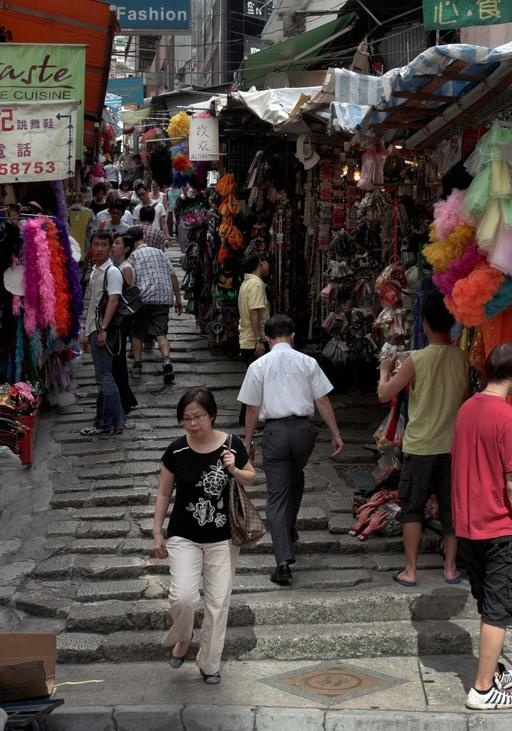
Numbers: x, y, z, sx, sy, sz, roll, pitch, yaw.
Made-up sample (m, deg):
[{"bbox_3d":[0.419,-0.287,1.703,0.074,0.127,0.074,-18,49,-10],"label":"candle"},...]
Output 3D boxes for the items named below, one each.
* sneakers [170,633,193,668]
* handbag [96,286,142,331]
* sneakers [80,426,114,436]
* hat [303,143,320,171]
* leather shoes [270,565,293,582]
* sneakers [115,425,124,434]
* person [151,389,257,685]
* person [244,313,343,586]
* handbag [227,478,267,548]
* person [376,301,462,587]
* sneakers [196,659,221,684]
[{"bbox_3d":[-0.387,1.422,3.150,0.087,0.258,0.083,17,34,-7],"label":"sneakers"},{"bbox_3d":[-1.445,-0.605,6.531,0.409,0.228,0.371,20,51,-6],"label":"handbag"},{"bbox_3d":[-1.671,0.681,6.605,0.317,0.128,0.123,4,-1,-9],"label":"sneakers"},{"bbox_3d":[0.569,-2.173,6.565,0.146,0.263,0.359,1,9,5],"label":"hat"},{"bbox_3d":[0.158,1.282,3.913,0.078,0.126,0.182,2,3,-17],"label":"leather shoes"},{"bbox_3d":[-1.442,0.663,6.593,0.065,0.081,0.186,3,-11,-11],"label":"sneakers"},{"bbox_3d":[-0.236,0.837,2.903,0.453,1.490,0.409,-1,10,-2],"label":"person"},{"bbox_3d":[0.187,0.608,4.014,0.516,1.420,0.468,-9,13,-43],"label":"person"},{"bbox_3d":[-0.047,0.678,2.897,0.153,0.365,0.226,0,10,-2],"label":"handbag"},{"bbox_3d":[0.983,0.457,3.737,0.553,1.737,0.302,0,10,2],"label":"person"},{"bbox_3d":[-0.223,1.448,3.003,0.055,0.055,0.158,0,-4,-19],"label":"sneakers"}]
